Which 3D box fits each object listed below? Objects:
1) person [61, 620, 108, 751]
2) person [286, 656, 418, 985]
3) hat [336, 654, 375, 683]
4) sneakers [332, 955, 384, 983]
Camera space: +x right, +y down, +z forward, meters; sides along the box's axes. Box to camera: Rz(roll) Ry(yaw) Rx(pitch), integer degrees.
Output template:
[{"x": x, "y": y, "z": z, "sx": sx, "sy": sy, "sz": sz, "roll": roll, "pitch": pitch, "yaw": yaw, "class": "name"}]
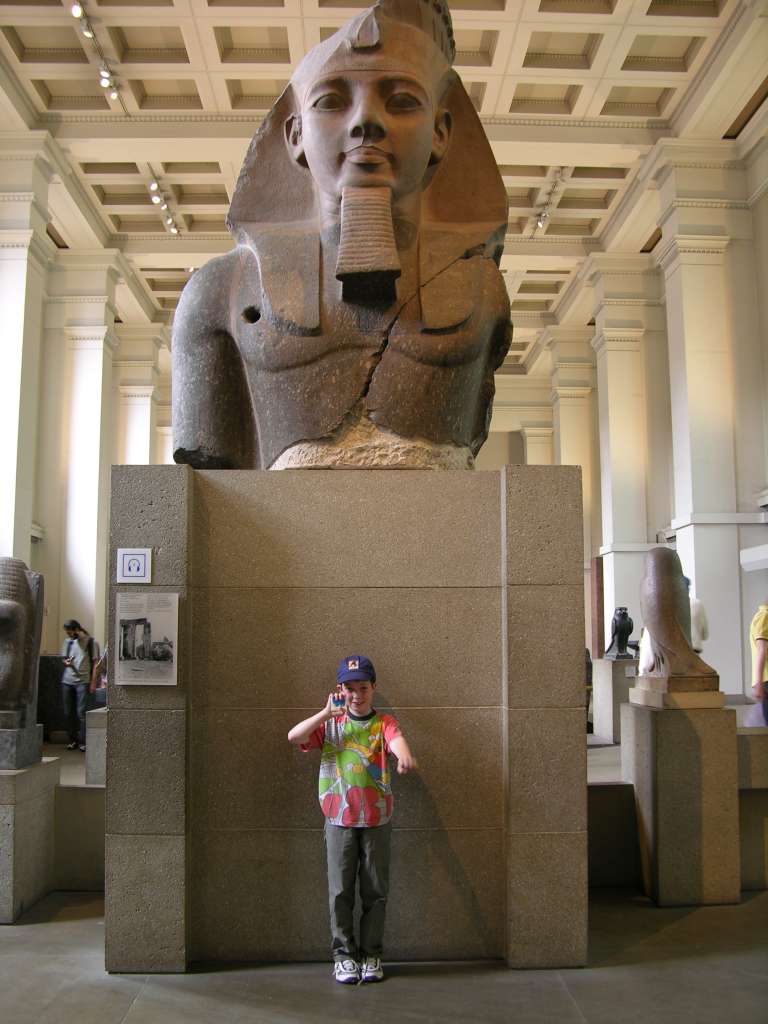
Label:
[{"x": -2.759, "y": 1.567, "z": 8.661, "sx": 0.350, "sy": 1.124, "sz": 1.212, "roll": 2, "pitch": -9, "yaw": -18, "class": "person"}, {"x": -0.113, "y": 0.963, "z": 2.815, "sx": 0.324, "sy": 0.860, "sz": 0.225, "roll": -1, "pitch": -9, "yaw": -1, "class": "person"}, {"x": -0.091, "y": 0.471, "z": 2.822, "sx": 0.098, "sy": 0.079, "sz": 0.129, "roll": 3, "pitch": -10, "yaw": -24, "class": "hat"}, {"x": -0.071, "y": 1.358, "z": 2.803, "sx": 0.148, "sy": 0.074, "sz": 0.090, "roll": 0, "pitch": -9, "yaw": -11, "class": "sneakers"}]
